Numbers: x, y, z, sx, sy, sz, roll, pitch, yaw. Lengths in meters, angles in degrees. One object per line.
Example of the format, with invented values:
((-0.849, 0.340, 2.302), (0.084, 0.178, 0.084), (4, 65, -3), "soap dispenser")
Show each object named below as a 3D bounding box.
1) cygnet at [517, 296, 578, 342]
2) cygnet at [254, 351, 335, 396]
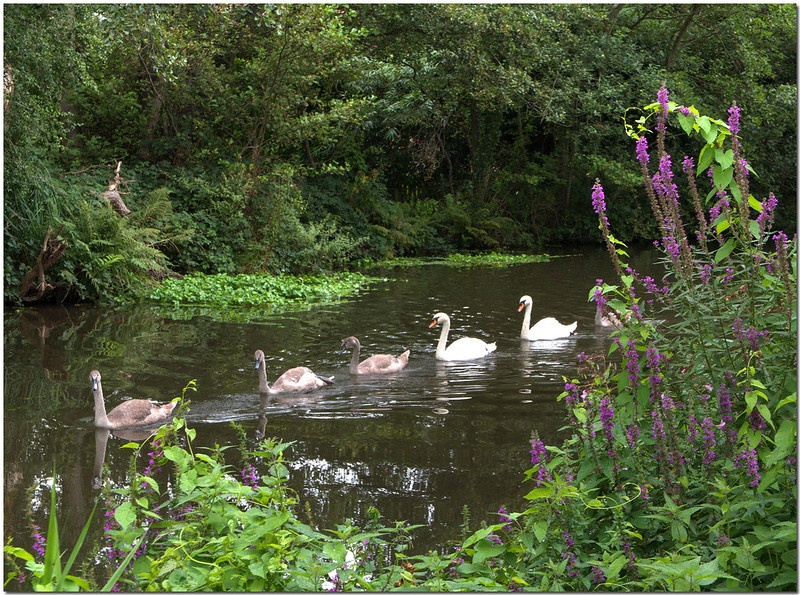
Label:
((2.617, 0.391, 16.220), (1.205, 0.859, 0.496), (-3, 8, -26), "cygnet")
((-1.530, 1.123, 13.341), (1.286, 0.728, 0.466), (-3, 2, -34), "cygnet")
